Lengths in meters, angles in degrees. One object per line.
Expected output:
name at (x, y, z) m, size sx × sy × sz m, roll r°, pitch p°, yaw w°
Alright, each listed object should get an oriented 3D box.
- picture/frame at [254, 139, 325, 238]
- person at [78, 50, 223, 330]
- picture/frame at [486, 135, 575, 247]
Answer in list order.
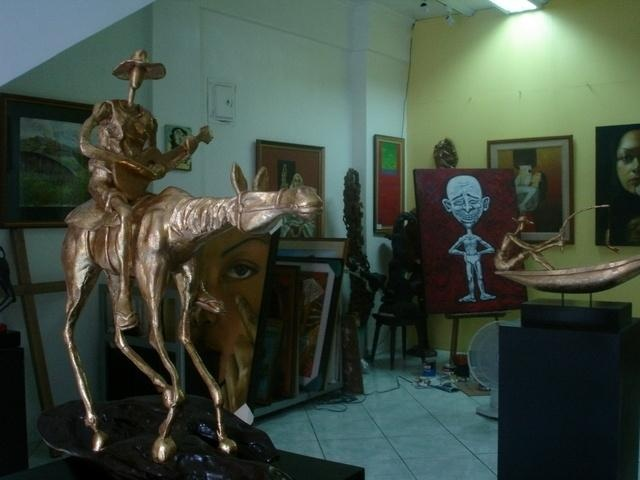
picture/frame at (-0.295, -0.468, 5.890) m, size 0.752 × 0.945 × 0.039 m, roll 2°, pitch -5°, yaw -31°
person at (-0.913, -0.295, 3.196) m, size 0.650 × 1.347 × 0.515 m, roll -15°, pitch 16°, yaw -38°
picture/frame at (2.225, -0.556, 6.483) m, size 0.276 × 1.110 × 1.031 m, roll -10°, pitch 14°, yaw -19°
